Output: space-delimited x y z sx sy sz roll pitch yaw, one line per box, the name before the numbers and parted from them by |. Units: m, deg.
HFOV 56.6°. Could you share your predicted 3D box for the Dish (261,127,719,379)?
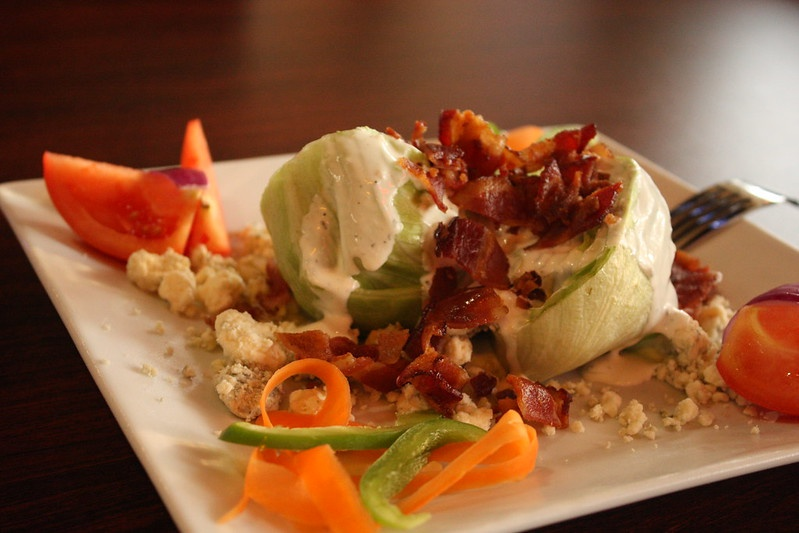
Dish | 0.207 -0.067 1.978 0.907 0.385 0.689 21 15 -11
